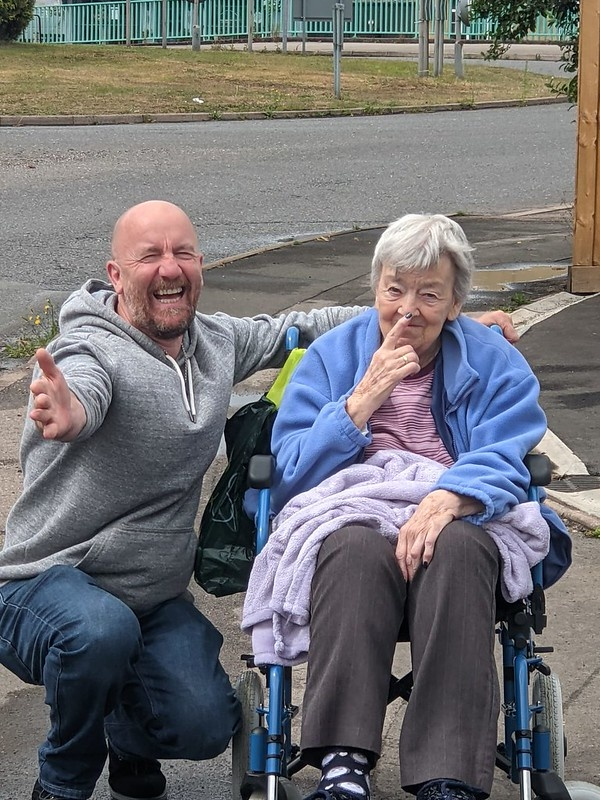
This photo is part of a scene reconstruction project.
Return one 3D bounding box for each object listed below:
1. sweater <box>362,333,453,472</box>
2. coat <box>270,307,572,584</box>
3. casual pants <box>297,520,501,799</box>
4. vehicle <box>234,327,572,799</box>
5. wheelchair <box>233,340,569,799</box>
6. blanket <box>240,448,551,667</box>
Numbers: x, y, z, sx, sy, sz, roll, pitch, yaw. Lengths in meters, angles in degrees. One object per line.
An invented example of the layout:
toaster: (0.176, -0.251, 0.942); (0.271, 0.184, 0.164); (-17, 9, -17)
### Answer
sweater: (0.302, 0.037, 3.602); (0.387, 0.396, 0.215); (3, -9, -28)
coat: (0.289, 0.131, 3.328); (0.742, 0.806, 0.478); (5, -21, 14)
casual pants: (0.239, 0.604, 2.900); (0.449, 0.520, 0.472); (2, 13, 5)
vehicle: (0.209, 0.606, 3.522); (0.773, 1.301, 1.103); (0, -23, 0)
wheelchair: (0.272, 0.592, 3.121); (0.673, 1.124, 0.972); (0, -17, 4)
blanket: (0.120, 0.356, 3.252); (0.513, 0.237, 0.628); (-4, 18, 6)
